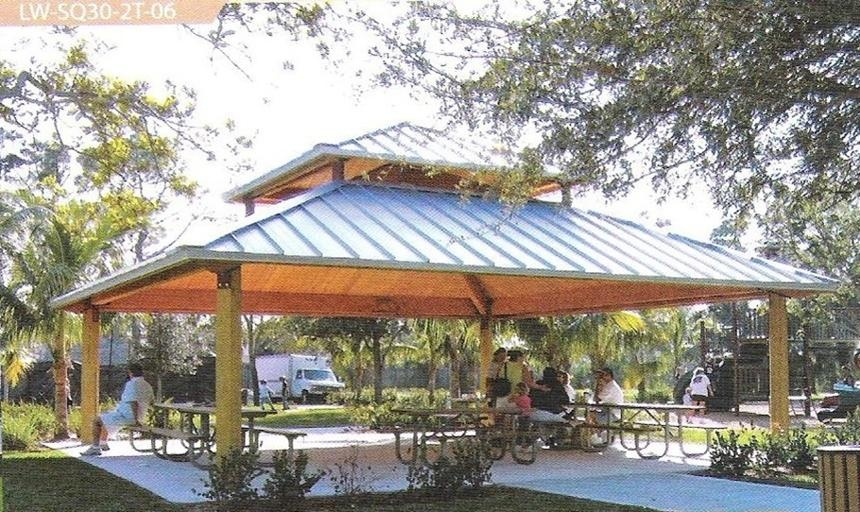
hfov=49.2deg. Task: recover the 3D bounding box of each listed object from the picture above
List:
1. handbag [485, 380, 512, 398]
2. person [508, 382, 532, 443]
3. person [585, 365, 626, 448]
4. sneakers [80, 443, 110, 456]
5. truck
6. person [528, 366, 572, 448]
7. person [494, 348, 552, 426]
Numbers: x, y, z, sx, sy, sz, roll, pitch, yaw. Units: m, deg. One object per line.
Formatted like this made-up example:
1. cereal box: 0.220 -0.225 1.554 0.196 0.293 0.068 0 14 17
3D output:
1. handbag: 1.320 2.519 17.839 0.446 0.455 0.164 -1 -14 30
2. person: 1.644 2.917 17.371 0.483 1.431 0.472 2 -26 10
3. person: 3.551 2.955 18.902 0.761 1.493 0.702 3 6 8
4. sneakers: -6.672 3.807 18.502 0.634 0.272 0.213 2 -5 -4
5. truck: -5.167 4.826 37.101 1.778 1.851 3.667 5 -7 -41
6. person: 2.209 2.895 18.223 0.919 1.255 0.779 6 -26 -18
7. person: 1.739 2.548 17.949 0.981 2.010 0.788 8 -22 -20
